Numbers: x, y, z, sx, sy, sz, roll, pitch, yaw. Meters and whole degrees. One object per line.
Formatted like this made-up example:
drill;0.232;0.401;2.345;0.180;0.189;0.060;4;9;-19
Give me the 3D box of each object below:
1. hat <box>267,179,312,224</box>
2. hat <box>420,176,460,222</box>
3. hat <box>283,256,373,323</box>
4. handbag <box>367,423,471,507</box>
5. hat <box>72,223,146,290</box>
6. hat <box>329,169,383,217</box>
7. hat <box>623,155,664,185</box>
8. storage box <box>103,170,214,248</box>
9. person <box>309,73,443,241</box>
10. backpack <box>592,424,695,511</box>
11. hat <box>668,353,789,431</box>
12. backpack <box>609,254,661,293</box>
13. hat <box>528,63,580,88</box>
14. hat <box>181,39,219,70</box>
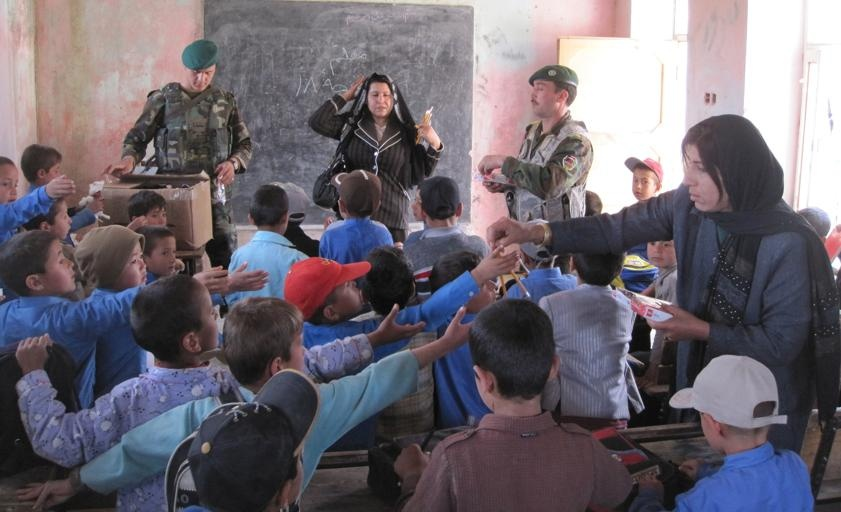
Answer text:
hat;-0.948;-0.425;5.166;0.274;0.207;0.415;1;28;-19
hat;0.113;-0.341;4.328;0.222;0.163;0.277;-4;42;-3
hat;-0.458;0.088;3.252;0.410;0.199;0.254;-36;25;-6
handbag;-0.079;0.842;2.849;0.346;0.136;0.326;-5;0;-22
hat;-1.513;-0.004;3.550;0.380;0.278;0.265;-7;5;-5
hat;-0.378;-0.392;4.376;0.237;0.198;0.331;-3;53;-14
hat;1.861;-0.724;5.716;0.387;0.145;0.255;23;-4;-39
storage box;-1.912;-0.337;5.016;0.680;0.437;0.476;8;16;-14
person;-0.358;-0.530;5.274;1.001;1.519;0.517;4;13;-3
backpack;0.904;0.859;2.929;0.342;0.216;0.348;-2;8;-5
hat;1.215;0.588;2.844;0.270;0.197;0.371;14;-10;-39
backpack;1.328;0.115;4.410;0.222;0.202;0.118;10;-27;11
hat;0.912;-1.223;4.791;0.235;0.085;0.210;12;9;24
hat;-1.734;-1.569;5.570;0.244;0.249;0.163;-4;9;-19
